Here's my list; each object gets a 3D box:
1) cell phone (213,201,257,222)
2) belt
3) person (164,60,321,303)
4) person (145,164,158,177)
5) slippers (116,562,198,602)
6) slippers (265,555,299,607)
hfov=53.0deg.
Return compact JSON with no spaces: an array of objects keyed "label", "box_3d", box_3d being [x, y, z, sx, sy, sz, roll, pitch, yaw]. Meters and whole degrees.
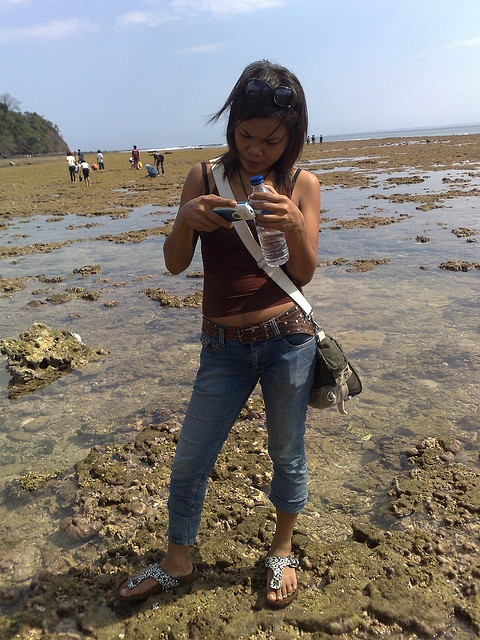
[{"label":"cell phone","box_3d":[-0.017,-0.370,1.656,0.123,0.044,0.066,-6,-20,32]},{"label":"belt","box_3d":[0.070,0.014,1.876,0.428,0.129,0.122,0,15,3]},{"label":"person","box_3d":[-0.015,-0.488,1.847,0.634,0.942,0.437,1,15,8]},{"label":"person","box_3d":[-4.526,-7.692,24.875,0.510,0.690,1.811,-3,15,-9]},{"label":"slippers","box_3d":[-0.379,1.174,2.213,0.338,0.112,0.132,-9,20,-15]},{"label":"slippers","box_3d":[0.190,1.148,2.154,0.097,0.083,0.226,-1,14,3]}]
